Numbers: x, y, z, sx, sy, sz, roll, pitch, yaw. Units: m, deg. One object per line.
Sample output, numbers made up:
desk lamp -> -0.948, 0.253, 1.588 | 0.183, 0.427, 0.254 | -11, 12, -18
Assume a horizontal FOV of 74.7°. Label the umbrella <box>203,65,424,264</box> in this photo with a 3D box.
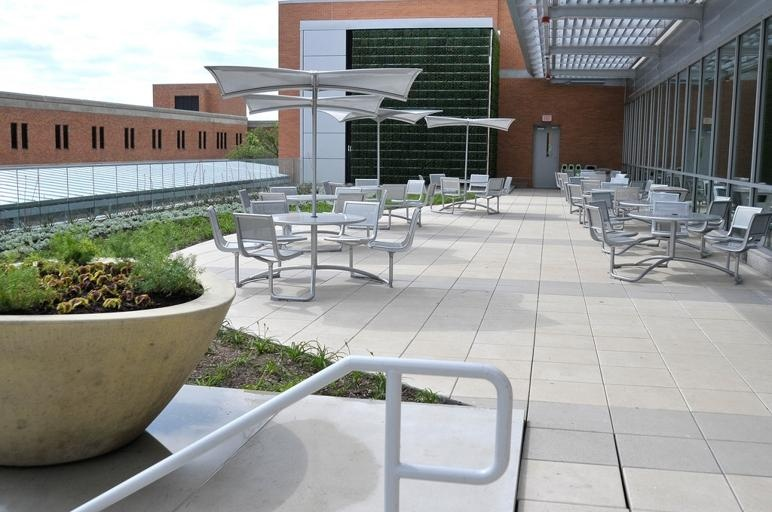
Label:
umbrella -> -1.265, -2.168, 9.153 | 3.619, 2.323, 3.637 | 5, 20, 6
